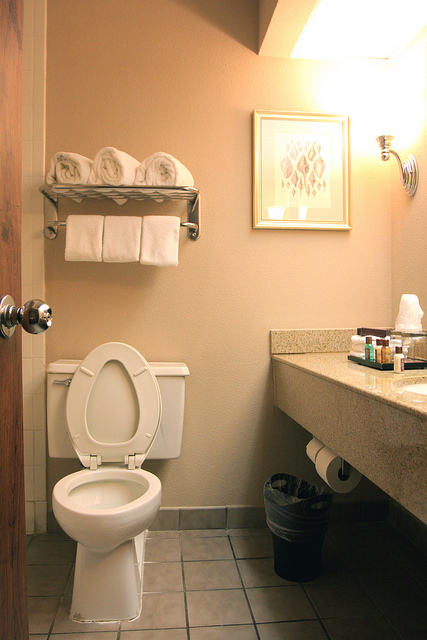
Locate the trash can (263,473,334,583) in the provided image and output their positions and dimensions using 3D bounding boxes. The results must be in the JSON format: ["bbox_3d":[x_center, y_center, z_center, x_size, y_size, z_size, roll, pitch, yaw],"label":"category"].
[{"bbox_3d":[0.293,0.734,1.901,0.185,0.300,0.274,6,-6,-23],"label":"trash can"}]

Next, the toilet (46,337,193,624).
[{"bbox_3d":[-0.374,0.525,1.885,0.482,0.837,0.762,3,5,-5],"label":"toilet"}]

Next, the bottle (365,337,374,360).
[{"bbox_3d":[0.529,0.099,1.849,0.028,0.071,0.055,1,5,15],"label":"bottle"}]

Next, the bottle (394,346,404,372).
[{"bbox_3d":[0.577,0.121,1.694,0.028,0.079,0.069,1,6,19],"label":"bottle"}]

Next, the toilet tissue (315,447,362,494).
[{"bbox_3d":[0.410,0.512,1.876,0.137,0.138,0.166,-13,7,-15],"label":"toilet tissue"}]

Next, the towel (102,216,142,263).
[{"bbox_3d":[-0.353,-0.310,2.137,0.129,0.179,0.046,0,3,-2],"label":"towel"}]

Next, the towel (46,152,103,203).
[{"bbox_3d":[-0.548,-0.537,2.047,0.123,0.075,0.166,10,1,5],"label":"towel"}]

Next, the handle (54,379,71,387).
[{"bbox_3d":[-0.570,0.241,2.058,0.061,0.027,0.018,1,25,0],"label":"handle"}]

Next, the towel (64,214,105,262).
[{"bbox_3d":[-0.494,-0.311,2.086,0.146,0.167,0.051,-1,2,-4],"label":"towel"}]

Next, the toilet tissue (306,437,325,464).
[{"bbox_3d":[0.348,0.469,1.945,0.072,0.072,0.087,-8,6,4],"label":"toilet tissue"}]

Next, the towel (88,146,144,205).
[{"bbox_3d":[-0.373,-0.592,2.102,0.162,0.101,0.232,2,21,10],"label":"towel"}]

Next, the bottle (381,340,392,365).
[{"bbox_3d":[0.561,0.102,1.758,0.031,0.075,0.094,2,6,26],"label":"bottle"}]
